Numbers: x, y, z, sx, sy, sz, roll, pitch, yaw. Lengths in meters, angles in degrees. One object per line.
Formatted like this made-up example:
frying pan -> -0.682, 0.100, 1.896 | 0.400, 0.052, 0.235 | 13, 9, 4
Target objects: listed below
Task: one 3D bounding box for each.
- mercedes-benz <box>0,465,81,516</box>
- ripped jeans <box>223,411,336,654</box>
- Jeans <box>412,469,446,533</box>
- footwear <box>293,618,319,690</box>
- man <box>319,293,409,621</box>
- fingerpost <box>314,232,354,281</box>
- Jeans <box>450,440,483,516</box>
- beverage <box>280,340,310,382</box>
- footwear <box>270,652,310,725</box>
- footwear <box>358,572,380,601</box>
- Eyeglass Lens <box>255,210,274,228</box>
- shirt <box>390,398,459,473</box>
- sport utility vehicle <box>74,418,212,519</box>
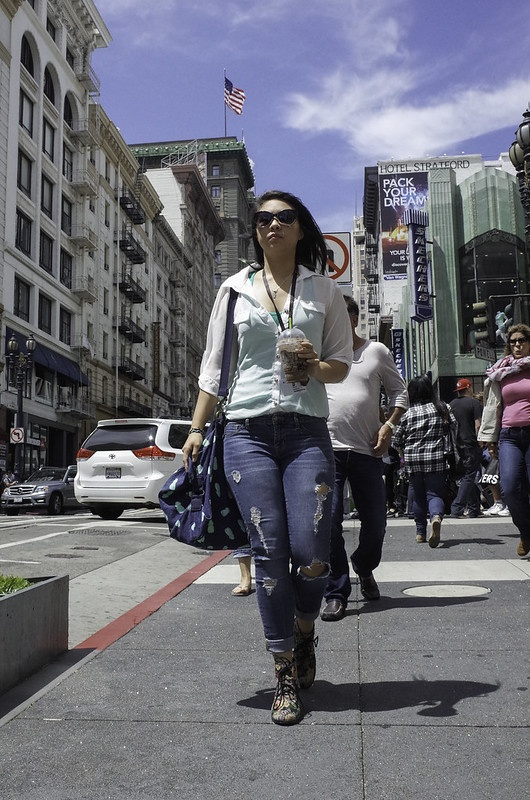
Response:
mercedes-benz -> -6.623, 2.818, 23.045 | 1.737, 1.521, 3.955 | -6, -12, 13
ripped jeans -> 0.055, 0.485, 2.668 | 0.420, 0.865, 0.265 | -1, -3, 3
Jeans -> 1.781, 1.073, 7.814 | 0.392, 1.078, 0.687 | -1, -3, 16
footwear -> 0.168, 1.011, 2.875 | 0.095, 0.277, 0.157 | -1, 6, 10
man -> 0.501, 0.355, 4.587 | 0.852, 2.033, 0.645 | -1, 2, 2
fingerpost -> 1.032, -2.103, 10.707 | 0.654, 0.793, 0.023 | 4, 11, 39
Jeans -> 3.262, 1.253, 11.135 | 0.372, 1.097, 0.422 | 3, -34, -8
beverage -> 0.105, -0.136, 2.611 | 0.103, 0.156, 0.139 | -1, -3, 3
footwear -> 0.076, 1.011, 2.510 | 0.109, 0.191, 0.231 | -1, -2, 2
footwear -> 0.696, 1.252, 4.774 | 0.101, 0.224, 0.087 | -19, 9, -27
Eyeglass Lens -> -0.005, -0.737, 2.912 | 0.069, 0.074, 0.034 | 3, 39, 20
shirt -> 1.794, 0.451, 8.012 | 0.709, 0.810, 0.474 | -7, -19, 18
sport utility vehicle -> -2.187, 1.156, 13.637 | 1.571, 1.412, 2.833 | -1, 2, 15
